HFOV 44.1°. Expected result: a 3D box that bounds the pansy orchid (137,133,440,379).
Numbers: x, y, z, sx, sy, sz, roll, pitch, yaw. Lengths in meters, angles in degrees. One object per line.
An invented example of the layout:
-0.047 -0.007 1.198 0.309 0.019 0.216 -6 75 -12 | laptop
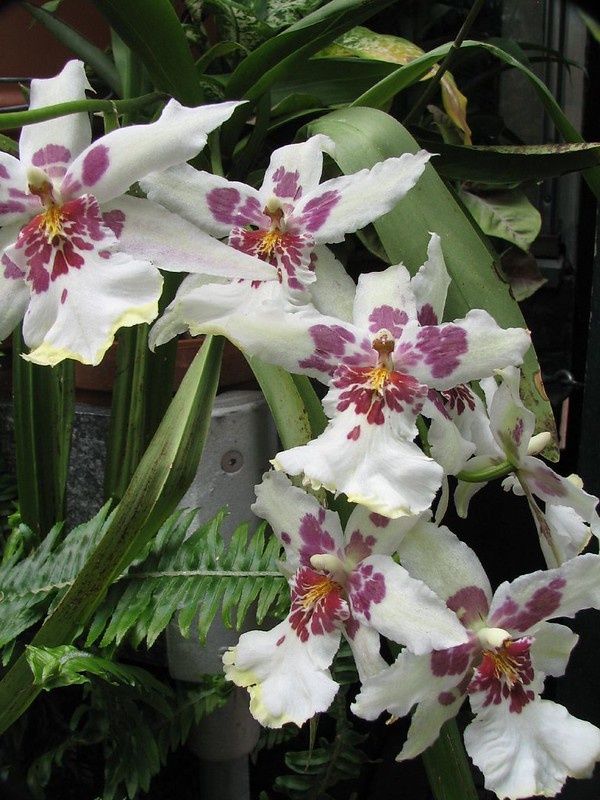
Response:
-0.027 -0.119 0.511 0.169 0.072 0.191 17 -10 -18 | pansy orchid

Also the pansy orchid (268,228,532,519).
0.049 -0.020 0.419 0.148 0.137 0.107 -16 17 -38 | pansy orchid
